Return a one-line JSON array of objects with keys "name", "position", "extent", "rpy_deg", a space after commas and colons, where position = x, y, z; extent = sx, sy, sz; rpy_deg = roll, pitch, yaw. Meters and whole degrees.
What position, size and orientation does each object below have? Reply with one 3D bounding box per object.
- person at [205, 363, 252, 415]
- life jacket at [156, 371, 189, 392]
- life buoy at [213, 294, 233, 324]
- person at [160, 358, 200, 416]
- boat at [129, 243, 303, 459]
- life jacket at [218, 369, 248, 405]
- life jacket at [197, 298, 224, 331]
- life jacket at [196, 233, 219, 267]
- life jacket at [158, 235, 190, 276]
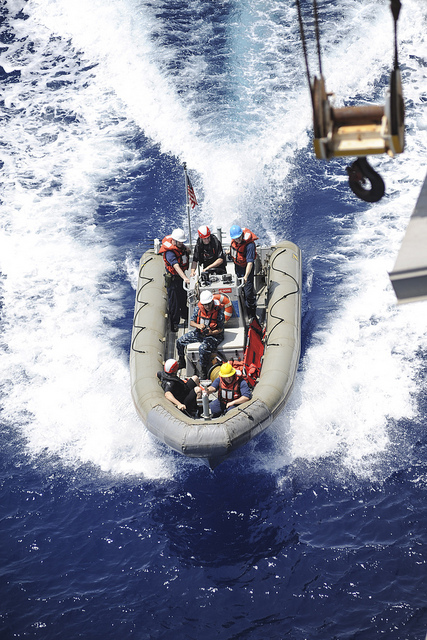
[{"name": "person", "position": [0.233, 1.247, 14.469], "extent": [0.798, 0.959, 0.636], "rpy_deg": [-10, 19, -11]}, {"name": "life jacket", "position": [-0.773, 1.075, 14.862], "extent": [0.653, 0.435, 0.202], "rpy_deg": [8, 45, 30]}, {"name": "life buoy", "position": [0.246, -0.226, 15.475], "extent": [0.158, 0.443, 0.488], "rpy_deg": [-10, 7, 18]}, {"name": "person", "position": [-0.590, 1.216, 14.772], "extent": [0.458, 0.656, 0.749], "rpy_deg": [-26, 39, 9]}, {"name": "boat", "position": [-0.090, 0.868, 15.857], "extent": [3.358, 1.919, 4.955], "rpy_deg": [-2, 35, 6]}, {"name": "life jacket", "position": [0.336, 1.154, 14.342], "extent": [0.469, 0.606, 0.348], "rpy_deg": [17, 55, 29]}, {"name": "life jacket", "position": [-0.061, -0.091, 15.069], "extent": [0.449, 0.497, 0.280], "rpy_deg": [24, 41, 12]}, {"name": "life jacket", "position": [-0.124, -1.386, 16.548], "extent": [0.430, 0.606, 0.129], "rpy_deg": [-1, 8, 6]}, {"name": "life jacket", "position": [-0.808, -1.275, 16.750], "extent": [0.545, 0.729, 0.617], "rpy_deg": [-15, 47, 12]}]
